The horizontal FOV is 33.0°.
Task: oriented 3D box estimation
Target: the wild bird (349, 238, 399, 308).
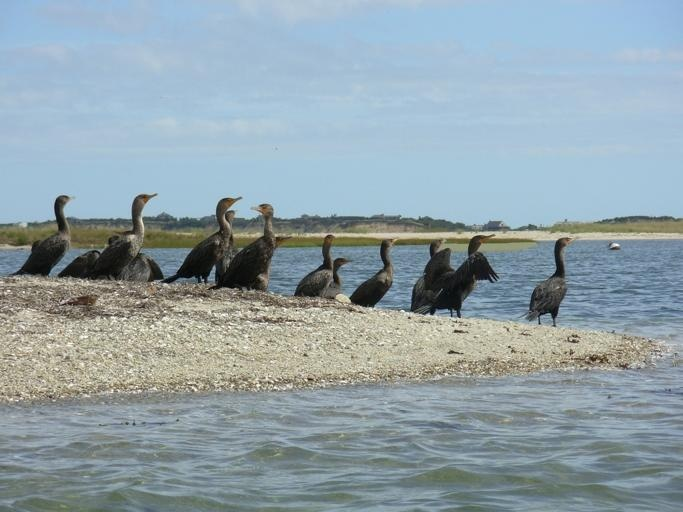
[{"bbox_3d":[0.776,0.408,27.056,0.875,1.573,1.488,5,4,1],"label":"wild bird"}]
